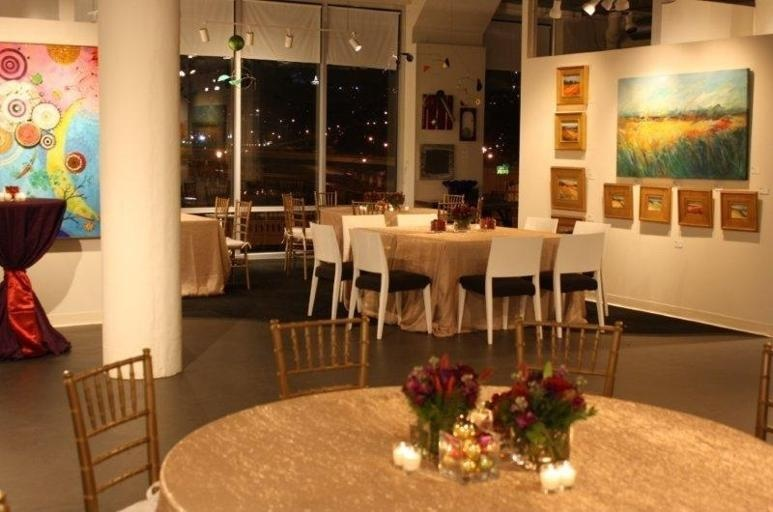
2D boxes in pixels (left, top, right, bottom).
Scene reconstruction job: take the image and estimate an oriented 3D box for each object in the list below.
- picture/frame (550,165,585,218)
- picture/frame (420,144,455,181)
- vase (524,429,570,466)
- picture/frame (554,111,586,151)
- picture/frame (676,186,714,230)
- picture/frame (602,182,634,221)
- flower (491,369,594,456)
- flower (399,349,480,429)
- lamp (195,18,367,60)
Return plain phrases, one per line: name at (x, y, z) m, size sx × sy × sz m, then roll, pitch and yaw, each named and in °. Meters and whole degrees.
picture/frame at (2.701, -0.973, 8.239) m, size 0.060 × 0.817 × 0.677 m, roll -9°, pitch 14°, yaw -35°
picture/frame at (1.040, -1.985, 11.681) m, size 0.759 × 0.743 × 0.053 m, roll -3°, pitch 9°, yaw -16°
vase at (0.530, 0.611, 1.842) m, size 0.129 × 0.098 × 0.115 m, roll 2°, pitch -3°, yaw -34°
picture/frame at (2.700, -1.833, 8.144) m, size 0.071 × 0.682 × 0.578 m, roll -1°, pitch 4°, yaw -37°
picture/frame at (3.884, -0.610, 6.981) m, size 0.057 × 0.567 × 0.470 m, roll -6°, pitch 11°, yaw -33°
picture/frame at (3.216, -0.757, 7.686) m, size 0.076 × 0.571 × 0.488 m, roll -4°, pitch 8°, yaw -36°
flower at (0.511, 0.477, 1.823) m, size 0.288 × 0.292 × 0.300 m, roll -3°, pitch -7°, yaw 17°
flower at (0.186, 0.454, 1.954) m, size 0.255 × 0.263 × 0.223 m, roll 1°, pitch -8°, yaw -36°
lamp at (-1.922, -4.075, 10.527) m, size 1.236 × 0.747 × 3.097 m, roll 8°, pitch 14°, yaw 39°
